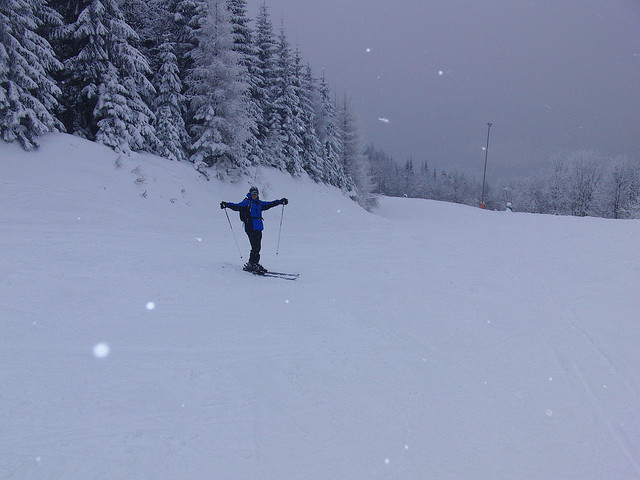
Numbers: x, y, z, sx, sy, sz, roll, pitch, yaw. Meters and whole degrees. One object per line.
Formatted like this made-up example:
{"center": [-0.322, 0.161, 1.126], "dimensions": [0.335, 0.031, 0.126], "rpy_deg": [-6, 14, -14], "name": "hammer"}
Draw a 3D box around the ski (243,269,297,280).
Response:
{"center": [-1.432, 1.061, 22.067], "dimensions": [1.558, 0.143, 0.183], "rpy_deg": [11, 11, 0], "name": "ski"}
